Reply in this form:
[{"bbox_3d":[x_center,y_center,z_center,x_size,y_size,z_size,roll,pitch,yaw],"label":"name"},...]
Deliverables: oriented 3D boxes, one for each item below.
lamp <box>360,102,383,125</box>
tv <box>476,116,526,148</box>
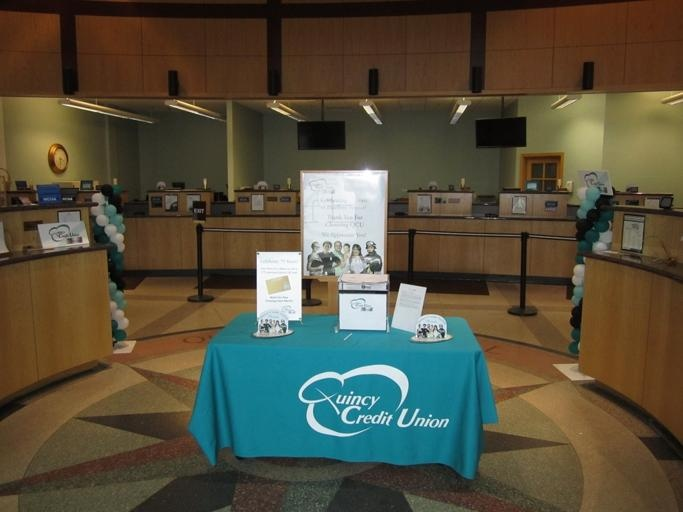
[{"bbox_3d":[0.739,-3.652,12.457,0.316,0.243,2.024,14,12,7],"label":"lamp"},{"bbox_3d":[2.928,-2.269,8.957,0.865,0.502,0.244,2,11,11],"label":"tv"}]
